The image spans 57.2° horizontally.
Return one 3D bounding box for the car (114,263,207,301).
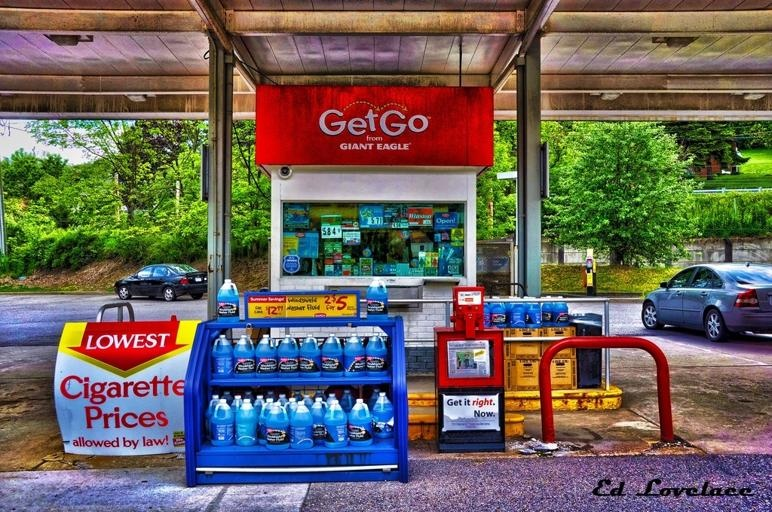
[{"bbox_3d":[-9.308,1.127,29.285,3.588,1.279,1.632,3,0,11],"label":"car"}]
